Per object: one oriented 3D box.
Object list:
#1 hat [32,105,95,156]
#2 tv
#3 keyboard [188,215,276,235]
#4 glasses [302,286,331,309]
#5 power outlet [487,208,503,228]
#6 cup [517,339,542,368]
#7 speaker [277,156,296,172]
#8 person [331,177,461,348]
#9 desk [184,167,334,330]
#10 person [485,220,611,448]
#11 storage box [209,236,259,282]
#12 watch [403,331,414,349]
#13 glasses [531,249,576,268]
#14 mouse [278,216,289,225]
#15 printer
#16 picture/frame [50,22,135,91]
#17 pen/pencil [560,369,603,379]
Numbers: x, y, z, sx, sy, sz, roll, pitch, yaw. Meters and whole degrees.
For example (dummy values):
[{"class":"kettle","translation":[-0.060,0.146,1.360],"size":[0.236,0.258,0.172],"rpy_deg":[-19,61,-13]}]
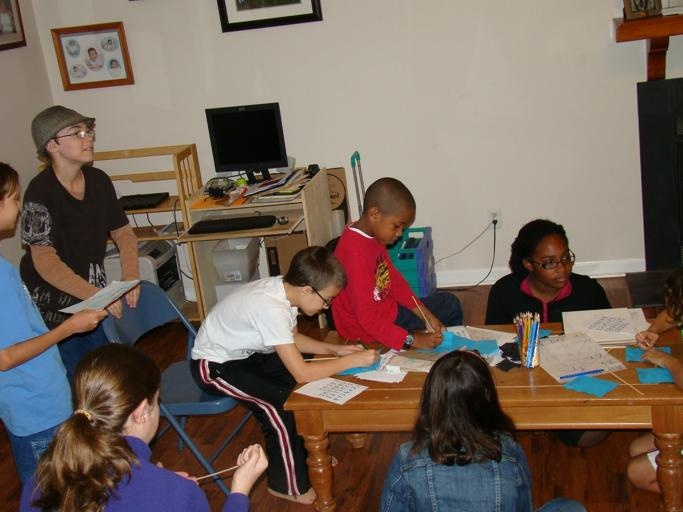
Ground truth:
[{"class":"hat","translation":[-1.334,-0.606,2.558],"size":[0.267,0.228,0.211],"rpy_deg":[-11,14,-25]},{"class":"tv","translation":[-0.734,-0.899,4.204],"size":[0.669,0.681,0.219],"rpy_deg":[-6,16,9]},{"class":"keyboard","translation":[-0.804,-0.233,3.930],"size":[0.638,0.077,0.287],"rpy_deg":[-5,13,0]},{"class":"glasses","translation":[-0.112,0.172,2.247],"size":[0.026,0.097,0.096],"rpy_deg":[-38,-15,5]},{"class":"power outlet","translation":[1.297,-0.328,4.474],"size":[0.098,0.134,0.135],"rpy_deg":[-1,1,7]},{"class":"cup","translation":[0.734,0.383,2.108],"size":[0.092,0.103,0.093],"rpy_deg":[-1,5,0]},{"class":"speaker","translation":[-0.447,-0.748,4.340],"size":[0.137,0.119,0.121],"rpy_deg":[0,15,1]},{"class":"person","translation":[0.336,0.004,3.209],"size":[0.726,1.096,0.553],"rpy_deg":[-1,41,7]},{"class":"desk","translation":[-0.786,0.081,4.417],"size":[1.402,1.364,1.074],"rpy_deg":[-2,16,8]},{"class":"person","translation":[0.999,0.299,2.602],"size":[0.656,0.822,0.680],"rpy_deg":[-1,9,-25]},{"class":"storage box","translation":[-0.827,0.040,4.138],"size":[0.255,0.249,0.385],"rpy_deg":[1,7,11]},{"class":"watch","translation":[0.301,0.371,2.381],"size":[0.016,0.050,0.050],"rpy_deg":[7,8,-27]},{"class":"glasses","translation":[1.003,0.027,2.579],"size":[0.125,0.041,0.128],"rpy_deg":[-12,7,-19]},{"class":"mouse","translation":[-0.431,-0.262,3.923],"size":[0.067,0.036,0.077],"rpy_deg":[-2,9,-6]},{"class":"printer","translation":[-1.338,0.059,3.521],"size":[0.327,0.329,0.330],"rpy_deg":[3,19,12]},{"class":"picture/frame","translation":[-2.075,-1.689,4.456],"size":[0.506,0.423,0.039],"rpy_deg":[-4,20,4]},{"class":"pen/pencil","translation":[0.898,0.438,1.981],"size":[0.085,0.011,0.019],"rpy_deg":[-5,46,-2]}]
